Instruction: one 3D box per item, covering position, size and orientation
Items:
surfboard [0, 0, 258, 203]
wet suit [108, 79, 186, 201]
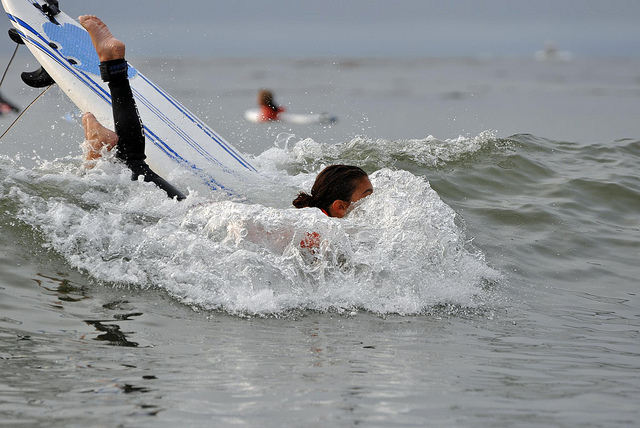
[{"bbox_3d":[-2.022,-0.869,8.476,2.723,0.400,0.652,40,24,4],"label":"surfboard"},{"bbox_3d":[-1.670,-0.599,7.985,0.262,1.408,0.388,-2,43,26],"label":"wet suit"}]
